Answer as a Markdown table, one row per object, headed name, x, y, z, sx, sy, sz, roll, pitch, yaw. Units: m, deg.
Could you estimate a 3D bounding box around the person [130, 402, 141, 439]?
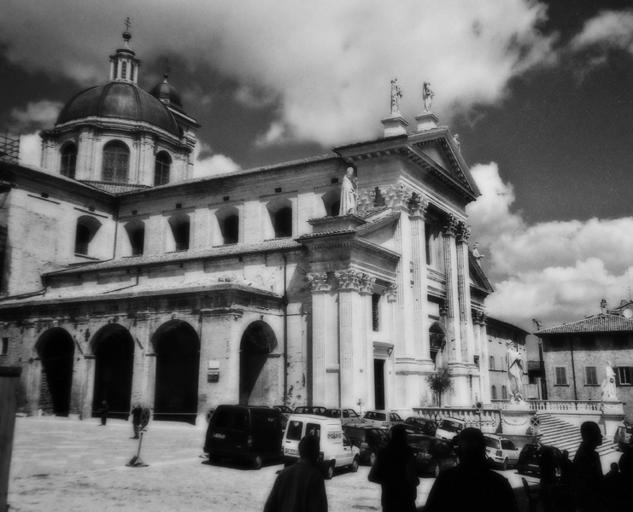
| name | x | y | z | sx | sy | sz | roll | pitch | yaw |
| --- | --- | --- | --- | --- | --- | --- | --- | --- | --- |
| person | -7.274 | 6.622 | 26.449 | 0.348 | 1.286 | 1.931 | 4 | -15 | -15 |
